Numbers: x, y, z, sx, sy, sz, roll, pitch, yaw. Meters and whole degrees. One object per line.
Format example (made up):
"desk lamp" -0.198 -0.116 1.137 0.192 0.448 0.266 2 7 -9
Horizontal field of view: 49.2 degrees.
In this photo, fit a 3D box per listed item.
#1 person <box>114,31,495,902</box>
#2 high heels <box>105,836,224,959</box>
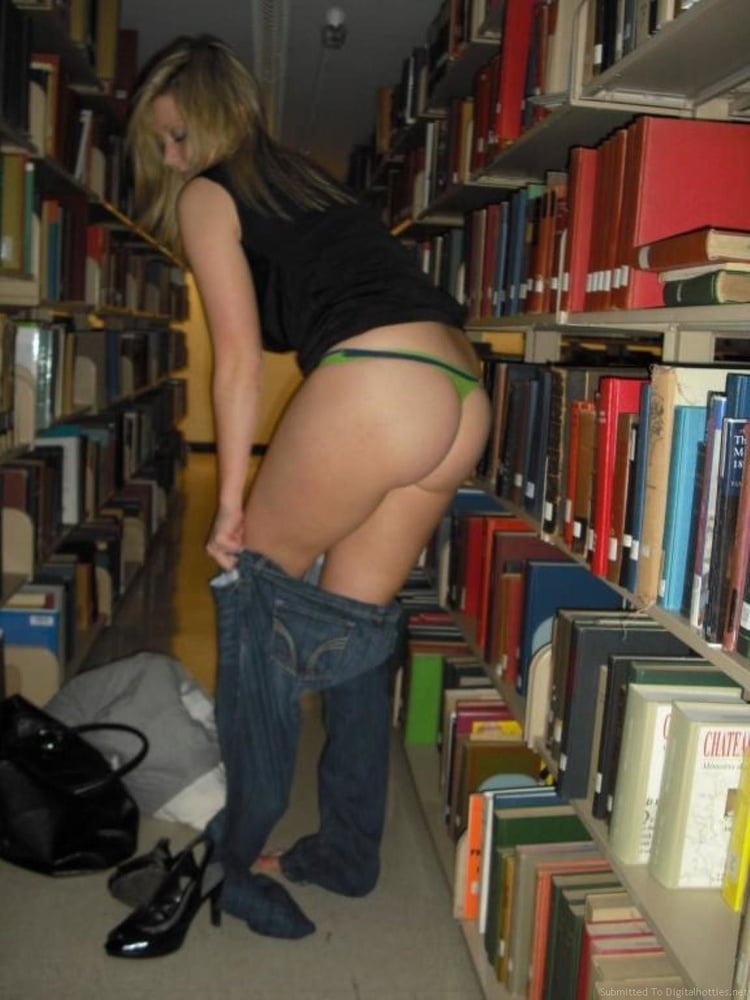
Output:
"person" -0.116 -0.251 1.318 0.598 0.913 0.365 5 9 10
"high heels" -0.413 0.767 1.630 0.229 0.080 0.160 -7 -4 -43
